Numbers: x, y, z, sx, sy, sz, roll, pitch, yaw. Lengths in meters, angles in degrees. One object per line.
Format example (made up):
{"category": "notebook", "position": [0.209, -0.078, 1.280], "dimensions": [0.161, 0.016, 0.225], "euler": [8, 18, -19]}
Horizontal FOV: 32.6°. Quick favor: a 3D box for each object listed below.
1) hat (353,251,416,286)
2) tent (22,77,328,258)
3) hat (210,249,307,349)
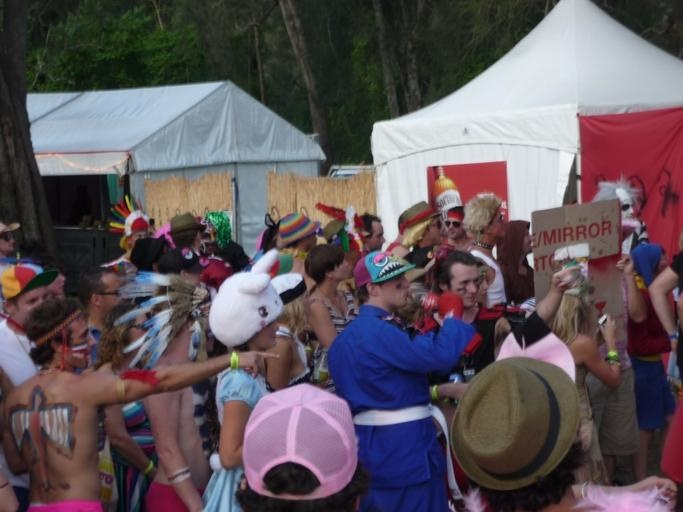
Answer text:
{"category": "hat", "position": [0.421, 0.128, 13.093], "dimensions": [0.494, 0.234, 0.376], "euler": [-13, 13, 43]}
{"category": "tent", "position": [-3.695, -2.538, 24.835], "dimensions": [4.684, 2.613, 3.925], "euler": [8, 15, 40]}
{"category": "hat", "position": [-0.948, 0.480, 12.784], "dimensions": [0.990, 0.845, 0.789], "euler": [-26, 37, 11]}
